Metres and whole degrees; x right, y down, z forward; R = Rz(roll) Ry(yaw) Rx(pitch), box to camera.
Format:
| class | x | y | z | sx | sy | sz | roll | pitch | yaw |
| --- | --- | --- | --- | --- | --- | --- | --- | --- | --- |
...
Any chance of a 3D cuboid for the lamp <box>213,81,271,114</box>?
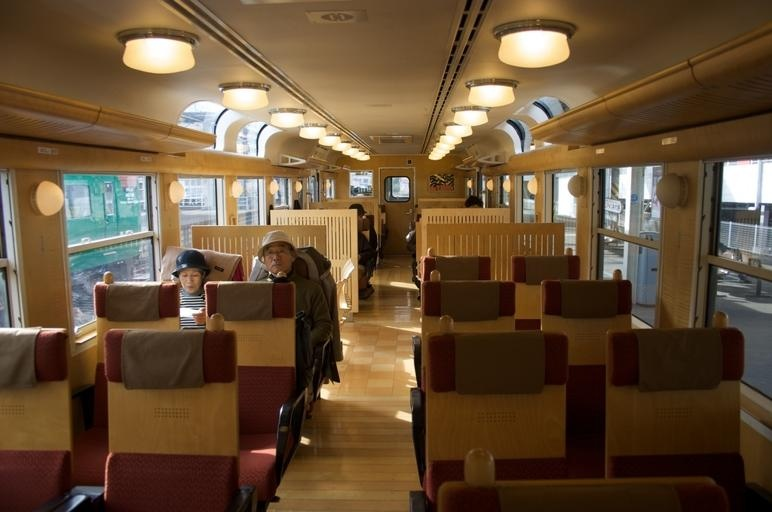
| class | x | y | z | sx | sy | sz | roll | pitch | yaw |
| --- | --- | --- | --- | --- | --- | --- | --- | --- | --- |
| lamp | -1.315 | -1.454 | 4.993 | 0.310 | 0.119 | 0.310 | -1 | 2 | 6 |

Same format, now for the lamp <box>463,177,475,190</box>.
| class | x | y | z | sx | sy | sz | roll | pitch | yaw |
| --- | --- | --- | --- | --- | --- | --- | --- | --- | --- |
| lamp | 2.327 | -2.047 | 15.491 | 0.310 | 0.350 | 0.310 | 1 | 0 | 8 |

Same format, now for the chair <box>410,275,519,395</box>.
| class | x | y | z | sx | sy | sz | roll | pitch | yaw |
| --- | --- | --- | --- | --- | --- | --- | --- | --- | --- |
| chair | 0.590 | 0.551 | 4.057 | 0.714 | 0.962 | 0.772 | 0 | 5 | 0 |

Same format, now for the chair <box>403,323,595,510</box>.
| class | x | y | z | sx | sy | sz | roll | pitch | yaw |
| --- | --- | --- | --- | --- | --- | --- | --- | --- | --- |
| chair | 0.603 | 0.807 | 3.147 | 0.743 | 1.057 | 1.041 | 1 | 4 | 3 |

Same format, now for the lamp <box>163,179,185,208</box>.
| class | x | y | z | sx | sy | sz | roll | pitch | yaw |
| --- | --- | --- | --- | --- | --- | --- | --- | --- | --- |
| lamp | -2.454 | -0.721 | 6.321 | 0.058 | 0.244 | 0.255 | -1 | 27 | 17 |

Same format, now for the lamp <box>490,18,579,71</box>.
| class | x | y | z | sx | sy | sz | roll | pitch | yaw |
| --- | --- | --- | --- | --- | --- | --- | --- | --- | --- |
| lamp | 1.016 | -1.438 | 3.783 | 0.531 | 0.181 | 0.548 | 10 | 13 | 44 |

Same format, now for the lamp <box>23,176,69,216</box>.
| class | x | y | z | sx | sy | sz | roll | pitch | yaw |
| --- | --- | --- | --- | --- | --- | --- | --- | --- | --- |
| lamp | -2.739 | -0.465 | 4.431 | 0.153 | 0.295 | 0.330 | -1 | 12 | -2 |

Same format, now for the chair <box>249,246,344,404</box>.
| class | x | y | z | sx | sy | sz | roll | pitch | yaw |
| --- | --- | --- | --- | --- | --- | --- | --- | --- | --- |
| chair | -0.995 | 0.677 | 5.101 | 1.031 | 1.271 | 1.004 | -12 | -9 | 26 |

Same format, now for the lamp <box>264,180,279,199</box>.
| class | x | y | z | sx | sy | sz | roll | pitch | yaw |
| --- | --- | --- | --- | --- | --- | --- | --- | --- | --- |
| lamp | -2.109 | -1.220 | 9.906 | 0.074 | 0.284 | 0.310 | 3 | 0 | 6 |

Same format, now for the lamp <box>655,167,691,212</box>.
| class | x | y | z | sx | sy | sz | roll | pitch | yaw |
| --- | --- | --- | --- | --- | --- | --- | --- | --- | --- |
| lamp | 2.334 | -0.524 | 4.475 | 0.151 | 0.304 | 0.289 | -1 | 12 | -2 |

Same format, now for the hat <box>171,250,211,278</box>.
| class | x | y | z | sx | sy | sz | roll | pitch | yaw |
| --- | --- | --- | --- | --- | --- | --- | --- | --- | --- |
| hat | -1.892 | 0.064 | 5.252 | 0.251 | 0.166 | 0.321 | -1 | -15 | -7 |

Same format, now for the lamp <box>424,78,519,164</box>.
| class | x | y | z | sx | sy | sz | roll | pitch | yaw |
| --- | --- | --- | --- | --- | --- | --- | --- | --- | --- |
| lamp | 1.207 | -1.829 | 7.550 | 0.713 | 0.320 | 2.416 | 3 | -12 | -3 |

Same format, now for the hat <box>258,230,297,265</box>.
| class | x | y | z | sx | sy | sz | roll | pitch | yaw |
| --- | --- | --- | --- | --- | --- | --- | --- | --- | --- |
| hat | -1.059 | -0.090 | 5.007 | 0.364 | 0.295 | 0.263 | 2 | 12 | 9 |

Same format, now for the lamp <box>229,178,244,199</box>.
| class | x | y | z | sx | sy | sz | roll | pitch | yaw |
| --- | --- | --- | --- | --- | --- | --- | --- | --- | --- |
| lamp | -2.305 | -1.011 | 8.292 | 0.137 | 0.287 | 0.226 | -1 | 12 | -5 |

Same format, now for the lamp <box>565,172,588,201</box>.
| class | x | y | z | sx | sy | sz | roll | pitch | yaw |
| --- | --- | --- | --- | --- | --- | --- | --- | --- | --- |
| lamp | 2.227 | -0.829 | 6.501 | 0.238 | 0.294 | 0.246 | -3 | 5 | -12 |

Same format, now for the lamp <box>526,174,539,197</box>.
| class | x | y | z | sx | sy | sz | roll | pitch | yaw |
| --- | --- | --- | --- | --- | --- | --- | --- | --- | --- |
| lamp | 2.267 | -1.097 | 8.531 | 0.308 | 0.350 | 0.310 | 0 | 3 | -2 |
